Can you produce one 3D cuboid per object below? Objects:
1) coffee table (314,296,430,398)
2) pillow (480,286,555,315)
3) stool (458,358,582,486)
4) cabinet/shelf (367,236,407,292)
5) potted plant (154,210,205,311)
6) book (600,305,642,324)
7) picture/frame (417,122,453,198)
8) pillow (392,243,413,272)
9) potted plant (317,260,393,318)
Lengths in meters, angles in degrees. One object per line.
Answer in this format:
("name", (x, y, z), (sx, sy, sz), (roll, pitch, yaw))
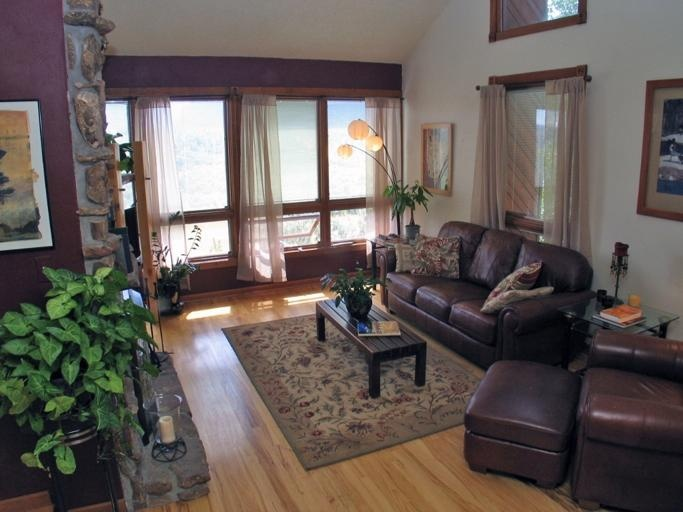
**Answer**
("coffee table", (0.284, 0.832, 4.950), (0.605, 0.589, 1.163), (-9, 14, -27))
("pillow", (1.614, 0.394, 4.793), (0.577, 0.231, 0.390), (-10, 14, -29))
("stool", (1.251, 1.072, 3.615), (0.664, 0.503, 0.885), (8, 25, 24))
("cabinet/shelf", (0.529, 0.057, 6.826), (0.602, 0.620, 0.631), (-11, 22, -29))
("potted plant", (-1.991, 0.074, 6.392), (0.755, 1.215, 0.511), (-13, 16, -39))
("book", (2.259, 0.467, 4.193), (0.187, 0.048, 0.181), (-15, 16, -17))
("picture/frame", (1.252, -1.268, 6.809), (0.072, 1.156, 0.853), (-9, 16, -27))
("pillow", (0.735, 0.021, 6.030), (0.267, 0.278, 0.108), (1, -8, 4))
("potted plant", (0.104, 0.348, 5.094), (0.558, 0.399, 0.506), (2, 8, 9))
